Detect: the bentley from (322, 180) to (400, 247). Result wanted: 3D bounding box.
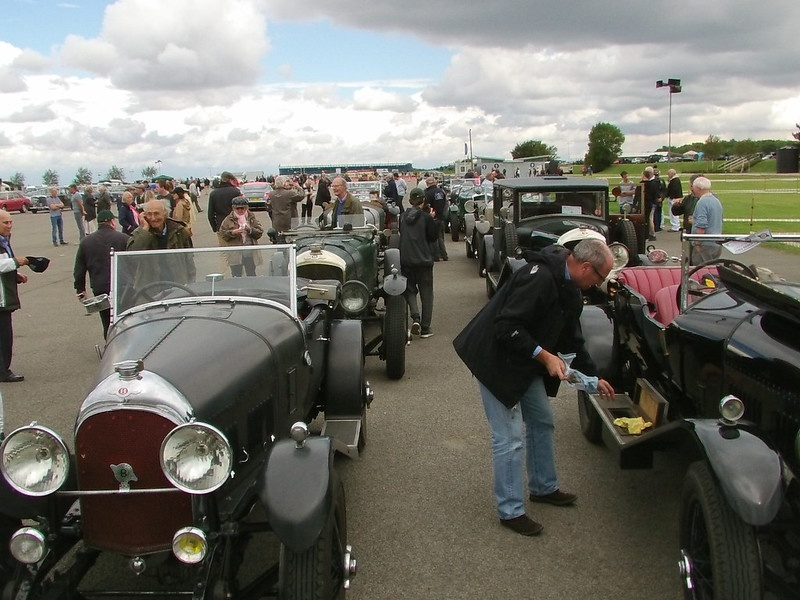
[{"bbox_3d":[-0.723,-1.569,10.722,1.104,1.022,2.001,-1,5,0],"label":"bentley"}]

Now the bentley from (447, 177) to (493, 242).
[{"bbox_3d":[2.305,-2.837,19.355,1.162,1.184,2.348,-3,11,-10],"label":"bentley"}]

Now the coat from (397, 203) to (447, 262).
[{"bbox_3d":[0.374,-1.033,9.389,0.765,1.047,0.711,2,12,22],"label":"coat"}]

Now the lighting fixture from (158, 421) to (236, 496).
[{"bbox_3d":[-1.049,0.797,3.088,0.348,0.381,0.135,8,10,3],"label":"lighting fixture"}]

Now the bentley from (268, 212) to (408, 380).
[{"bbox_3d":[-0.567,-0.113,8.112,1.336,1.289,2.727,-5,11,-1],"label":"bentley"}]

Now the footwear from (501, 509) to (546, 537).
[{"bbox_3d":[0.938,1.650,4.532,0.262,0.121,0.147,4,7,32],"label":"footwear"}]

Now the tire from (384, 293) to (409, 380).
[{"bbox_3d":[-0.067,0.457,7.464,0.332,1.051,0.874,-2,-10,8],"label":"tire"}]

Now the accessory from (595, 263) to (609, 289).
[{"bbox_3d":[1.554,-0.186,4.619,0.065,0.117,0.087,42,8,6],"label":"accessory"}]

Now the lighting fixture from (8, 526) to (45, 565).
[{"bbox_3d":[-1.959,1.279,3.171,0.186,0.215,0.094,4,17,-8],"label":"lighting fixture"}]

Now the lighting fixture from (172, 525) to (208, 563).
[{"bbox_3d":[-1.096,1.284,3.111,0.166,0.259,0.129,-6,14,-21],"label":"lighting fixture"}]

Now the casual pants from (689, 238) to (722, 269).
[{"bbox_3d":[2.689,-0.412,5.275,0.175,0.422,0.126,-19,15,-19],"label":"casual pants"}]

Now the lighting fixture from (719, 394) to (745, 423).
[{"bbox_3d":[1.917,0.622,3.465,0.099,0.162,0.167,9,17,37],"label":"lighting fixture"}]

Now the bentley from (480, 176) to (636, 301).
[{"bbox_3d":[2.708,-1.289,11.498,1.907,1.744,3.580,-3,10,-2],"label":"bentley"}]

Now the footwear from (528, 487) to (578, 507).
[{"bbox_3d":[1.254,1.589,4.921,0.358,0.166,0.140,-1,3,13],"label":"footwear"}]
